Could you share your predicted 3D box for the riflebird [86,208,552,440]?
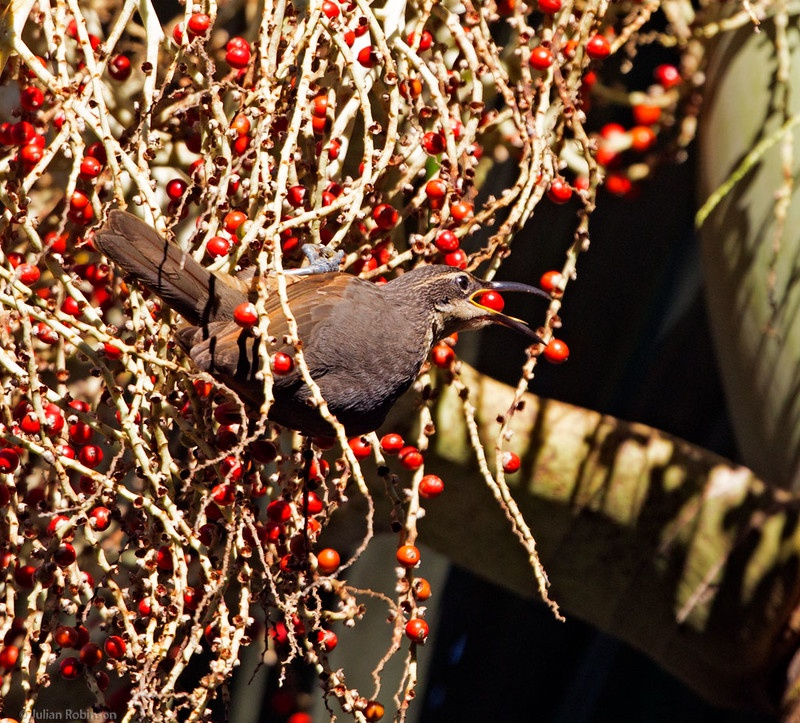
[{"bbox_3d":[-0.163,-0.046,1.879,0.264,0.791,0.457,18,90,70],"label":"riflebird"}]
